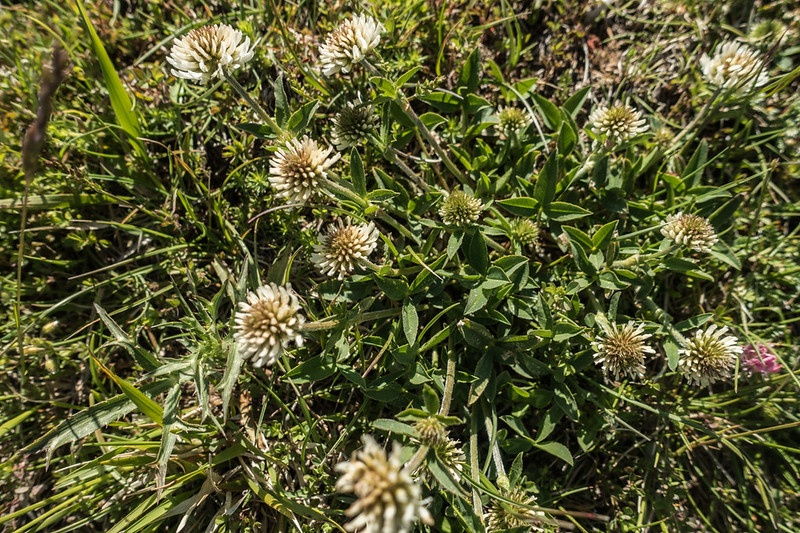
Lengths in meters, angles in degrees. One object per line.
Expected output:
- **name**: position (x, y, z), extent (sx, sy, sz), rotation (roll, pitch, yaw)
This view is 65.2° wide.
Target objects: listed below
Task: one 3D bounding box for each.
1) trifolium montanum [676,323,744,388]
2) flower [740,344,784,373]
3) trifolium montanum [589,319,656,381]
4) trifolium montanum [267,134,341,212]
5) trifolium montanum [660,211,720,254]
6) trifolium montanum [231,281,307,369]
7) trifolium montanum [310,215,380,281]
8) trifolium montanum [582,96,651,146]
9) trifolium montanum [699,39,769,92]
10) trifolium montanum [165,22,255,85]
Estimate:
- **trifolium montanum**: position (2.577, 0.750, 5.229), extent (0.533, 0.347, 0.553), rotation (-13, 76, 18)
- **flower**: position (3.297, 0.844, 5.680), extent (0.267, 0.155, 0.286), rotation (13, 58, 18)
- **trifolium montanum**: position (1.870, 0.737, 5.210), extent (0.395, 0.250, 0.412), rotation (-23, 50, -25)
- **trifolium montanum**: position (-0.764, -0.754, 5.228), extent (0.563, 0.328, 0.584), rotation (19, 82, 7)
- **trifolium montanum**: position (2.384, -0.296, 5.173), extent (0.346, 0.201, 0.358), rotation (-14, 38, -41)
- **trifolium montanum**: position (-0.977, 0.329, 4.880), extent (0.572, 0.574, 0.337), rotation (25, 102, 15)
- **trifolium montanum**: position (-0.471, -0.170, 5.307), extent (0.470, 0.324, 0.584), rotation (31, 72, 6)
- **trifolium montanum**: position (1.895, -1.292, 5.457), extent (0.437, 0.474, 0.251), rotation (-2, 98, 12)
- **trifolium montanum**: position (3.011, -1.796, 5.581), extent (0.526, 0.276, 0.504), rotation (-13, 73, -9)
- **trifolium montanum**: position (-1.559, -1.858, 5.215), extent (0.601, 0.526, 0.330), rotation (-20, 108, -37)
